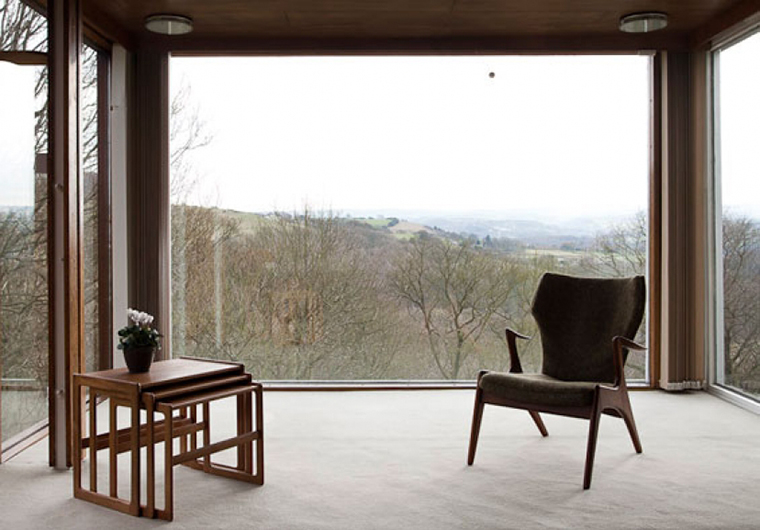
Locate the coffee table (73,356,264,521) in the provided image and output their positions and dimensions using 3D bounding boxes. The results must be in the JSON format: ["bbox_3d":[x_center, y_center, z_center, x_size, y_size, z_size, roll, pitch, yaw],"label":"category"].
[{"bbox_3d":[-1.254,0.922,4.054,0.887,0.845,1.022,-1,-1,26],"label":"coffee table"}]

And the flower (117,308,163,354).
[{"bbox_3d":[-1.467,0.378,3.959,0.219,0.221,0.273,-4,10,-21],"label":"flower"}]

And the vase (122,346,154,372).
[{"bbox_3d":[-1.418,0.556,3.883,0.156,0.122,0.160,-3,-8,19],"label":"vase"}]

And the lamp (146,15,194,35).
[{"bbox_3d":[-1.739,-1.987,5.389,0.381,0.107,0.217,-3,10,-18],"label":"lamp"}]

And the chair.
[{"bbox_3d":[1.066,0.742,4.788,1.168,1.612,1.322,-3,-8,38],"label":"chair"}]

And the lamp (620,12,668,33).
[{"bbox_3d":[2.199,-2.034,5.488,0.381,0.129,0.225,4,11,21],"label":"lamp"}]
